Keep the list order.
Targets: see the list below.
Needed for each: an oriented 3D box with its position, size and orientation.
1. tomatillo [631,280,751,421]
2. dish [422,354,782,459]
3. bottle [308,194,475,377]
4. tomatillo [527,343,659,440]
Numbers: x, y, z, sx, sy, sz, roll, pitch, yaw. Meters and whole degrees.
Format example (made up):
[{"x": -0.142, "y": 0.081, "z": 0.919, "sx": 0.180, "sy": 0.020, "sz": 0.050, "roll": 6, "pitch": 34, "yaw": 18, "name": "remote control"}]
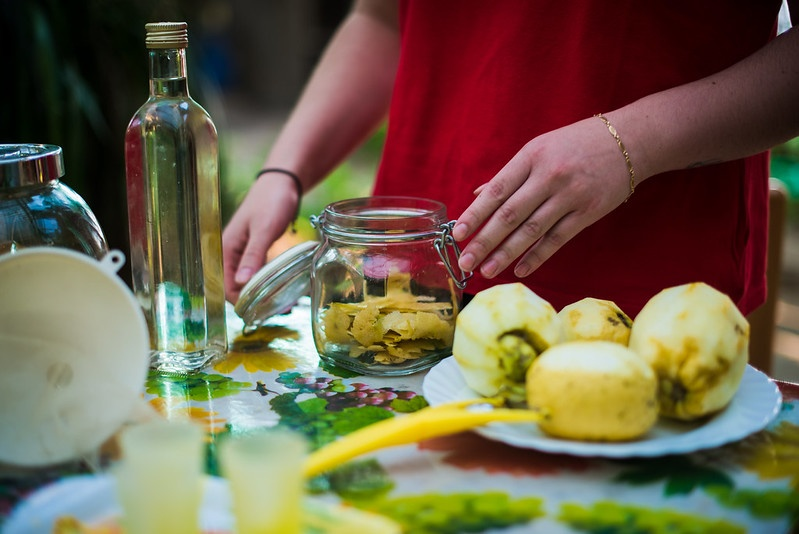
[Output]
[{"x": 0.370, "y": 0.104, "z": 0.982, "sx": 0.173, "sy": 0.168, "sz": 0.196, "roll": 3, "pitch": 44, "yaw": 19, "name": "tomatillo"}, {"x": 0.252, "y": 0.173, "z": 0.986, "sx": 0.532, "sy": 0.050, "sz": 0.497, "roll": -1, "pitch": -5, "yaw": -19, "name": "dish"}, {"x": -0.029, "y": 0.031, "z": 1.198, "sx": 0.248, "sy": 0.227, "sz": 0.232, "roll": -3, "pitch": 5, "yaw": -15, "name": "bottle"}, {"x": 0.246, "y": 0.164, "z": 0.935, "sx": 0.181, "sy": 0.124, "sz": 0.133, "roll": -3, "pitch": 13, "yaw": 23, "name": "tomatillo"}]
